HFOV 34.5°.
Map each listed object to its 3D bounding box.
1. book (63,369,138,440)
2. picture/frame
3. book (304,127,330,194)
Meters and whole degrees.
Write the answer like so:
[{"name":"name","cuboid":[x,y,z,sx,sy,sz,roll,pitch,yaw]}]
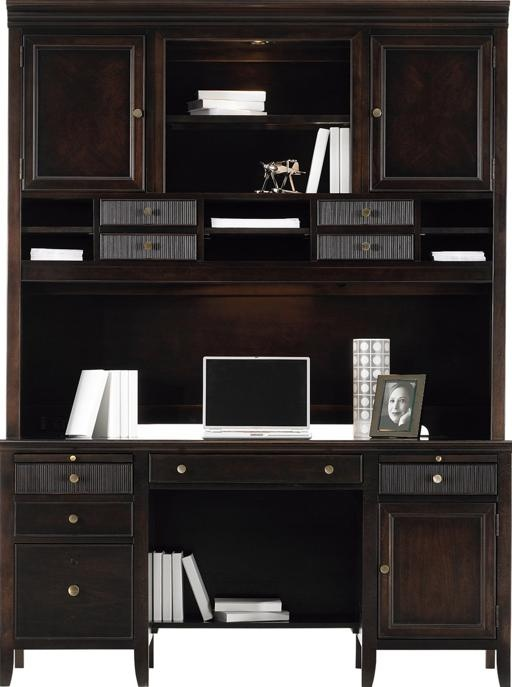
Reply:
[{"name":"book","cuboid":[-0.574,0.200,3.128,0.290,0.309,0.226,-4,-10,29]},{"name":"picture/frame","cuboid":[0.515,0.231,3.014,0.212,0.308,0.021,3,-29,20]},{"name":"book","cuboid":[0.247,-0.688,3.178,0.067,0.334,0.067,3,-31,-3]}]
